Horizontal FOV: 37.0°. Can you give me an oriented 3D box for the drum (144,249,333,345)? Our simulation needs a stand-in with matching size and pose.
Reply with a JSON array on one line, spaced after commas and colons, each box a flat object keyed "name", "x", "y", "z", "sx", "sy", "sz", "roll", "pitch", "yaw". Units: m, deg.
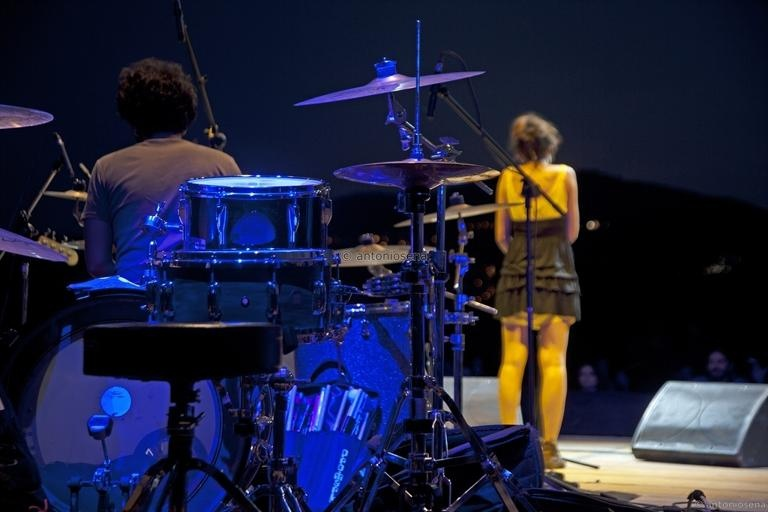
[{"name": "drum", "x": -0.972, "y": 0.270, "z": 7.678, "sx": 1.492, "sy": 0.681, "sz": 1.417, "roll": 1, "pitch": -2, "yaw": 0}]

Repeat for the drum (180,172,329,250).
[{"name": "drum", "x": -0.806, "y": -0.268, "z": 7.192, "sx": 0.582, "sy": 0.353, "sz": 0.598, "roll": 1, "pitch": -2, "yaw": 0}]
